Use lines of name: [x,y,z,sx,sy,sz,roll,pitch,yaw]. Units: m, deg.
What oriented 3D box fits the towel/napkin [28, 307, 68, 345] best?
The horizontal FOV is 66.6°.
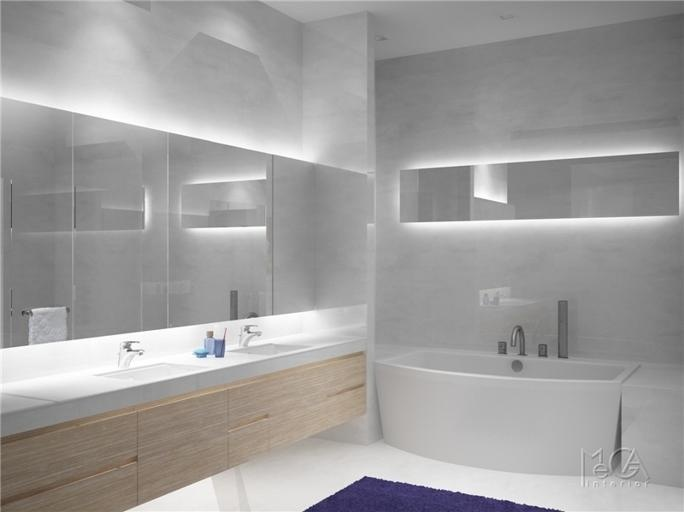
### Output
towel/napkin: [-1.486,0.347,2.608,0.029,0.181,0.212,2,0,28]
